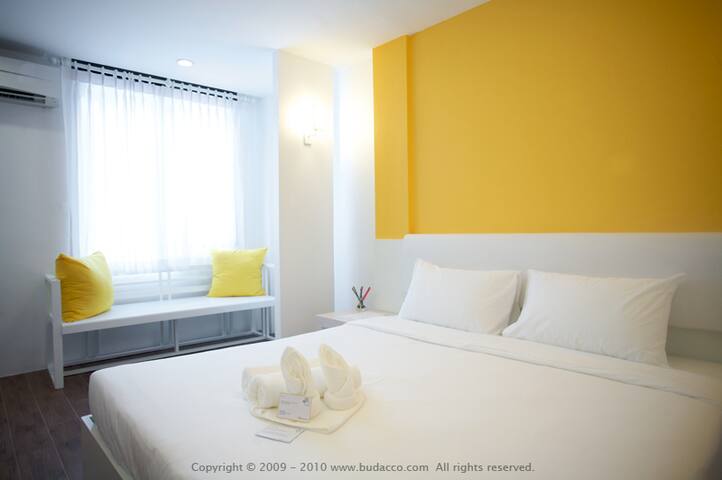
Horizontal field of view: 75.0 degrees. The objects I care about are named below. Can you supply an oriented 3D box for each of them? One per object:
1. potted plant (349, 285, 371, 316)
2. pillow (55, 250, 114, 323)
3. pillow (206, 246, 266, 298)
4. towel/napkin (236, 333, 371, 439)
[{"bbox_3d":[-0.005,0.620,4.846,0.235,0.269,0.204,1,1,39],"label":"potted plant"},{"bbox_3d":[-2.579,0.449,4.367,0.329,0.626,0.625,0,3,11],"label":"pillow"},{"bbox_3d":[-1.402,0.371,5.280,0.523,0.471,0.199,-2,-21,2],"label":"pillow"},{"bbox_3d":[-0.330,0.809,2.571,0.482,0.227,0.484,5,6,34],"label":"towel/napkin"}]
